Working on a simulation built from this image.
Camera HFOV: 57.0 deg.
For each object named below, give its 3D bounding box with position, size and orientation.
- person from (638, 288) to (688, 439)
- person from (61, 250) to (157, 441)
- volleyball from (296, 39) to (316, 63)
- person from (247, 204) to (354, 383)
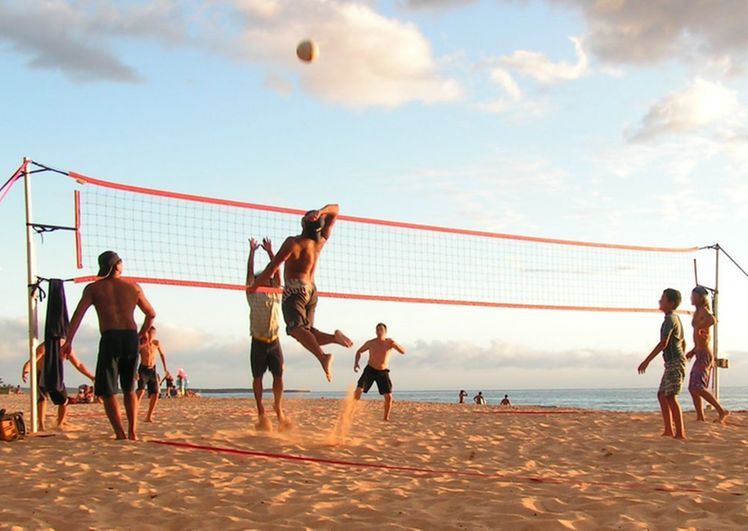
[{"bbox_3d":[2.961,0.996,7.013,0.408,1.518,0.874,-1,-3,23],"label":"person"},{"bbox_3d":[-2.379,0.741,6.233,0.736,1.745,0.684,1,-3,-21],"label":"person"},{"bbox_3d":[-0.756,-2.404,7.792,0.203,0.306,0.256,1,-3,-5],"label":"volleyball"},{"bbox_3d":[-0.659,0.204,6.249,0.779,1.582,0.697,1,-3,-16],"label":"person"}]
